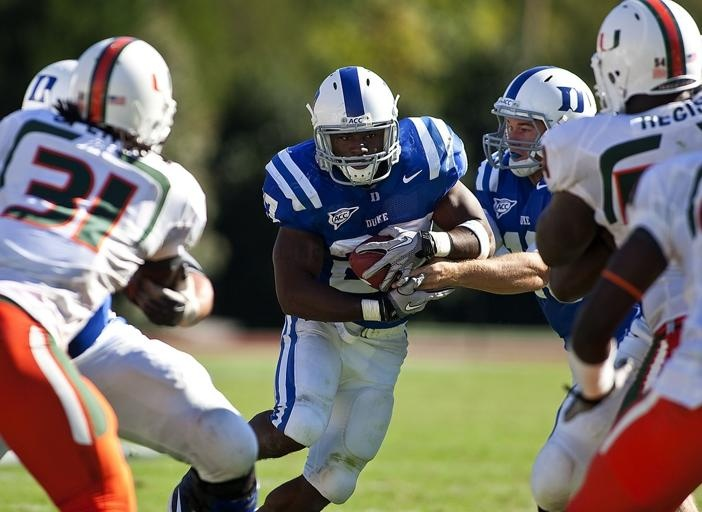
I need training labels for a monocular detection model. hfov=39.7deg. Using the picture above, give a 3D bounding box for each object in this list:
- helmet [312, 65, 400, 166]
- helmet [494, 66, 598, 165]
[{"bbox_3d":[0.018,-0.639,4.396,0.405,0.471,0.491,2,19,24],"label":"helmet"},{"bbox_3d":[0.924,-0.695,4.651,0.546,0.479,0.405,-13,22,-37],"label":"helmet"}]
